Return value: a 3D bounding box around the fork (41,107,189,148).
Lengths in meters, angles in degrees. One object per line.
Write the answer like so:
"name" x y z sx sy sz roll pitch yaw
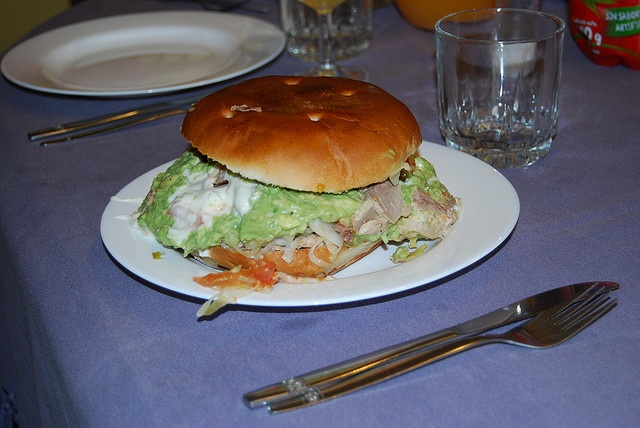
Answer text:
"fork" -0.892 -0.372 1.990 0.509 0.036 0.026 -19 66 -21

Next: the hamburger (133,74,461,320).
"hamburger" -0.090 -0.071 1.451 0.767 0.385 0.730 -16 34 -23
